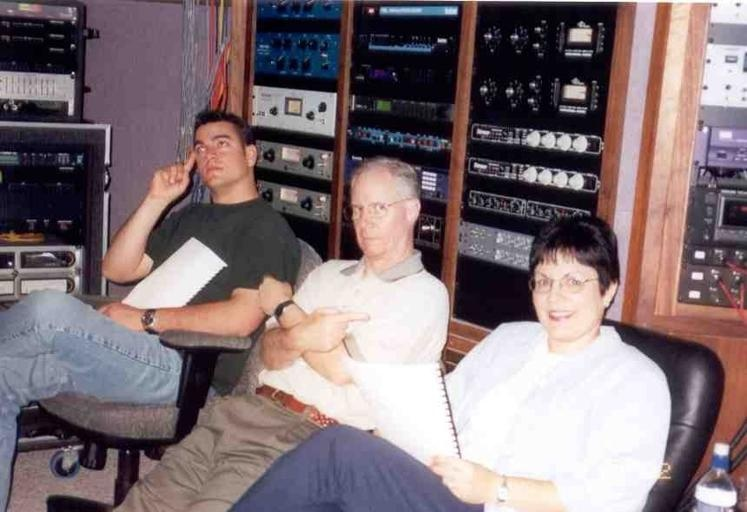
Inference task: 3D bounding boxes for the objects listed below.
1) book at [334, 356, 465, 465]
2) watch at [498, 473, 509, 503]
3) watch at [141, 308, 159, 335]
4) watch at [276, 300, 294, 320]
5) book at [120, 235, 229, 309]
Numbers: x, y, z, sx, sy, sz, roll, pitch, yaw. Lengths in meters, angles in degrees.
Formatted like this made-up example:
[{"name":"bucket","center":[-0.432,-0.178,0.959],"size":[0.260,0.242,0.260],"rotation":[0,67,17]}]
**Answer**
[{"name":"book","center":[0.085,0.453,1.811],"size":[0.374,0.306,0.092],"rotation":[10,14,35]},{"name":"watch","center":[0.371,0.668,1.730],"size":[0.037,0.061,0.061],"rotation":[3,5,5]},{"name":"watch","center":[-0.907,0.264,2.446],"size":[0.050,0.096,0.074],"rotation":[0,-8,4]},{"name":"watch","center":[-0.342,0.191,2.265],"size":[0.027,0.067,0.064],"rotation":[45,48,16]},{"name":"book","center":[-0.865,0.099,2.646],"size":[0.285,0.386,0.102],"rotation":[33,-8,25]}]
